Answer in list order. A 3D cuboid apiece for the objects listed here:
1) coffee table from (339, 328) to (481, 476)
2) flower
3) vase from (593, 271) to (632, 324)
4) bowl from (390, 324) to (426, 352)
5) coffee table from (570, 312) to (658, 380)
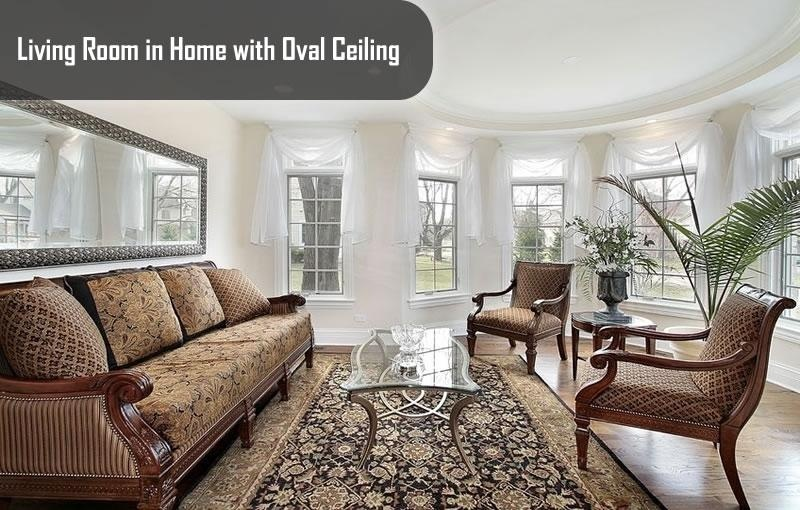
[{"bbox_3d":[0.078,1.056,4.324,1.023,0.667,1.581,-1,1,-1],"label":"coffee table"},{"bbox_3d":[2.716,-0.100,6.108,1.212,1.403,1.403,0,-6,-2],"label":"flower"},{"bbox_3d":[2.352,0.465,5.544,0.398,0.533,0.411,-1,-5,27],"label":"vase"},{"bbox_3d":[0.072,0.782,4.524,0.260,0.168,0.257,0,-9,0],"label":"bowl"},{"bbox_3d":[2.356,0.898,5.349,0.893,0.819,0.811,1,-2,-1],"label":"coffee table"}]
